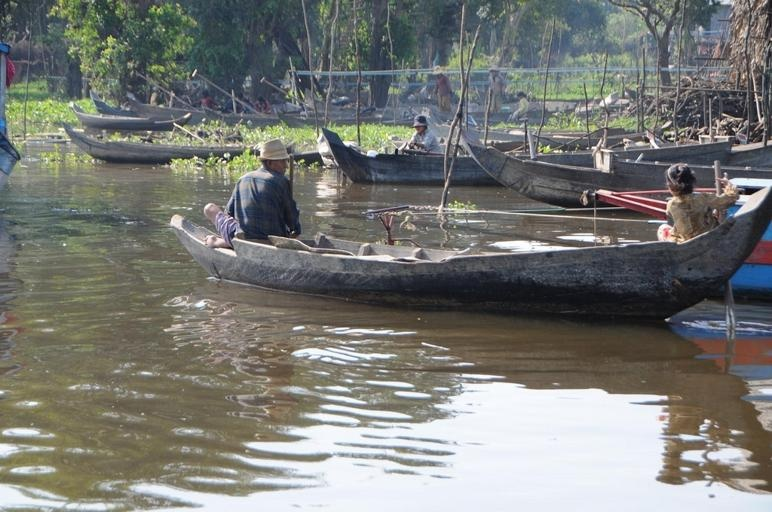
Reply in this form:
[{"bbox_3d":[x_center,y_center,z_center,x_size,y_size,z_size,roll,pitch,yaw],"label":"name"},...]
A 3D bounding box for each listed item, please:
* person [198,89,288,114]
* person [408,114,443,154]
[{"bbox_3d":[-5.710,-6.202,51.740,3.516,0.504,0.804,21,35,0],"label":"person"},{"bbox_3d":[0.964,-3.159,33.854,1.151,0.905,0.802,-8,15,-35],"label":"person"}]
